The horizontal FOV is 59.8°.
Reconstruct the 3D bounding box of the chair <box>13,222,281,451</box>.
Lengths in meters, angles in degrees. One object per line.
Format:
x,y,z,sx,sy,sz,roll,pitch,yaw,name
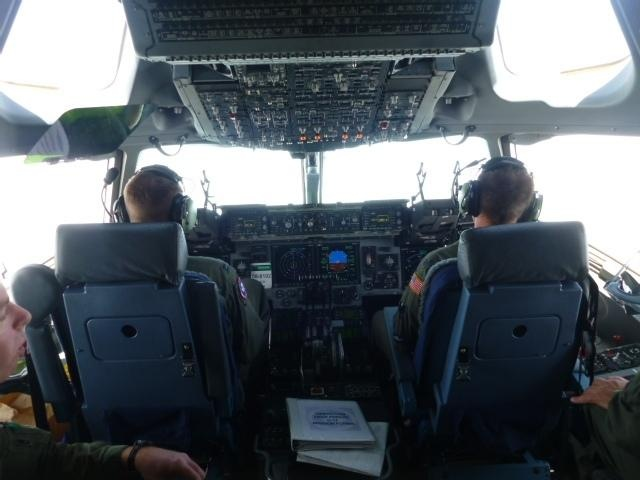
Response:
-0.800,0.382,3.252,1.003,1.330,1.166,-1,13,3,chair

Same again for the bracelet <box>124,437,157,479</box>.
-0.838,0.984,2.554,0.140,0.146,0.085,7,-11,-33,bracelet

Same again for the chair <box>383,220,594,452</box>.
1.030,0.474,3.477,1.069,1.494,1.278,-4,18,0,chair

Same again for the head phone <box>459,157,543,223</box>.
1.001,-0.259,3.063,0.418,0.377,0.171,10,-4,4,head phone

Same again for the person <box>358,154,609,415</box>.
0.914,0.284,3.528,1.562,1.782,0.907,2,29,5,person

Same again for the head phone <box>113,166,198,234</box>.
-0.974,-0.236,3.257,0.434,0.406,0.205,-1,-8,1,head phone

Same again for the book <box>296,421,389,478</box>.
0.133,1.125,3.064,0.441,0.168,0.360,3,4,14,book
